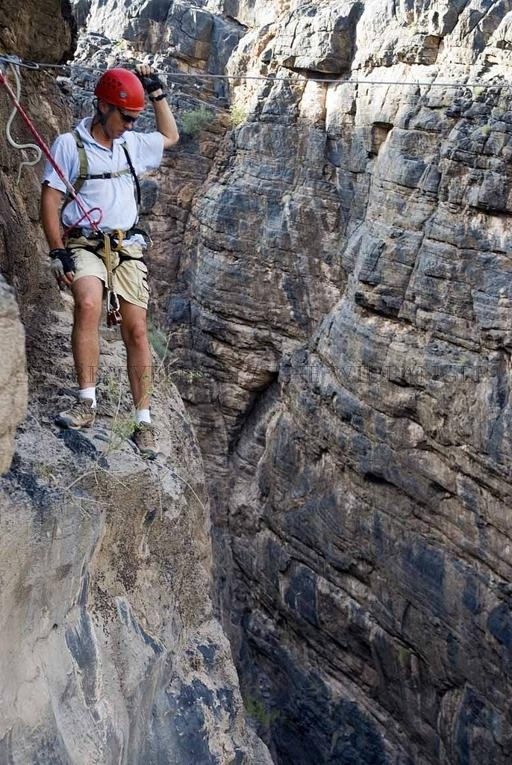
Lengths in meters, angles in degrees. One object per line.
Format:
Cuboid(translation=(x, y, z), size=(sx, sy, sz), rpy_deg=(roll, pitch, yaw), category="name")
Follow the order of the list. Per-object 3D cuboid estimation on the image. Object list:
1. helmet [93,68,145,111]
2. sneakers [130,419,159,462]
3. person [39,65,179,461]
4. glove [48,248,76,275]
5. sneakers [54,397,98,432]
Cuboid(translation=(-0.673, -1.454, 3.820), size=(0.242, 0.212, 0.195), rpy_deg=(12, 8, -4), category="helmet")
Cuboid(translation=(-0.577, 0.310, 4.034), size=(0.081, 0.116, 0.263), rpy_deg=(-3, 40, -37), category="sneakers")
Cuboid(translation=(-0.750, -0.665, 3.942), size=(0.772, 1.969, 0.602), rpy_deg=(3, 10, -41), category="person")
Cuboid(translation=(-0.921, -0.581, 3.695), size=(0.053, 0.141, 0.103), rpy_deg=(-23, -15, 36), category="glove")
Cuboid(translation=(-0.859, 0.143, 3.740), size=(0.097, 0.154, 0.240), rpy_deg=(15, 9, 29), category="sneakers")
